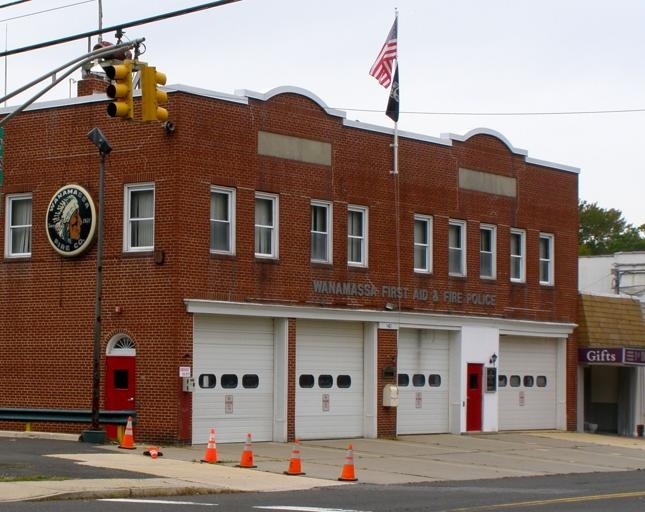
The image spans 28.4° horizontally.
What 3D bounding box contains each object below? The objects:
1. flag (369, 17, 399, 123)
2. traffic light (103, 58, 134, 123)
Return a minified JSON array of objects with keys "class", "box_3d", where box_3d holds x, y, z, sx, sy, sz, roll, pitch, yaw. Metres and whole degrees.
[{"class":"flag","box_3d":[2.041,-5.987,41.163,0.803,3.620,0.826,0,-10,-1]},{"class":"traffic light","box_3d":[-4.633,-3.831,29.103,0.647,1.472,0.906,2,-10,-11]}]
